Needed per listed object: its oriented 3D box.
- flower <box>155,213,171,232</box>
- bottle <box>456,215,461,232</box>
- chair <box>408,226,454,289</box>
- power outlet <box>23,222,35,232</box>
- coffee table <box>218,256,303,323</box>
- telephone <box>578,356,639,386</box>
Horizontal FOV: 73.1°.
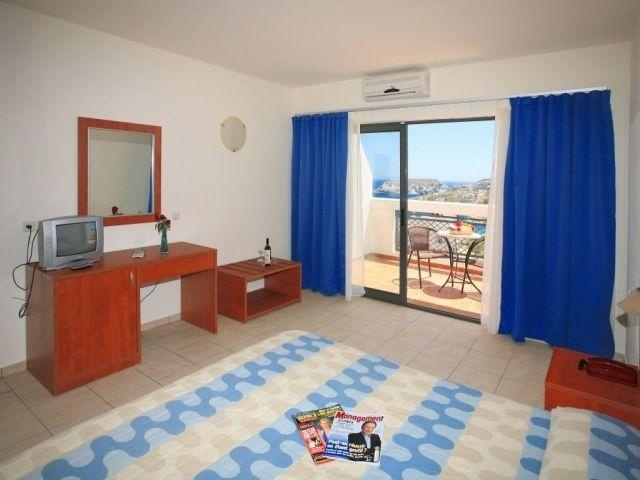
[{"bbox_3d":[-1.651,-0.168,4.588,0.197,0.212,0.203,-1,0,33],"label":"flower"},{"bbox_3d":[2.101,-0.216,6.491,0.082,0.158,0.194,3,12,19],"label":"bottle"},{"bbox_3d":[1.773,0.152,7.069,0.597,0.931,1.474,2,12,13],"label":"chair"},{"bbox_3d":[-2.672,-0.116,3.976,0.056,0.111,0.107,10,9,40],"label":"power outlet"},{"bbox_3d":[-0.806,0.590,5.531,0.718,0.581,0.984,7,14,34],"label":"coffee table"},{"bbox_3d":[2.121,0.962,3.183,0.191,0.082,0.252,-1,3,-36],"label":"telephone"}]
